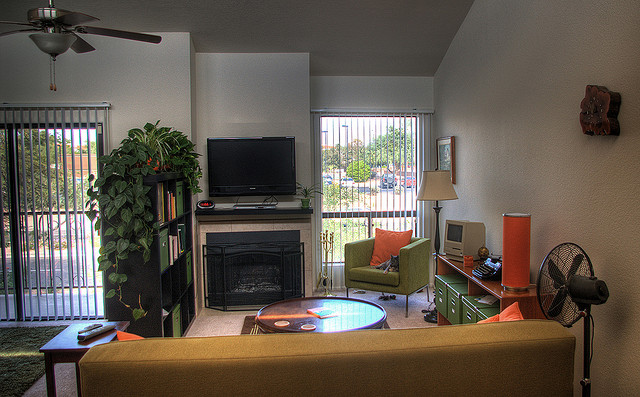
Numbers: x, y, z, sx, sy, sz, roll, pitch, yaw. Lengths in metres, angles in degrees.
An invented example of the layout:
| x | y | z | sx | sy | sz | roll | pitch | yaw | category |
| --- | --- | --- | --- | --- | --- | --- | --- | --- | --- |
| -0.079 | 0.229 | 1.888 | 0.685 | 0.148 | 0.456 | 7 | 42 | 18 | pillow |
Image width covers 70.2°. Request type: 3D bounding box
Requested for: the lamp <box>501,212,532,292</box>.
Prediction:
| x | y | z | sx | sy | sz | roll | pitch | yaw | category |
| --- | --- | --- | --- | --- | --- | --- | --- | --- | --- |
| 1.996 | 0.548 | 4.641 | 0.256 | 0.786 | 0.194 | 0 | 3 | 22 | lamp |

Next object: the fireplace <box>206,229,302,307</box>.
| x | y | z | sx | sy | sz | roll | pitch | yaw | category |
| --- | --- | --- | --- | --- | --- | --- | --- | --- | --- |
| -1.000 | 1.015 | 6.502 | 1.167 | 0.810 | 0.368 | -1 | 0 | -6 | fireplace |

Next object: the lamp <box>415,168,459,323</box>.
| x | y | z | sx | sy | sz | roll | pitch | yaw | category |
| --- | --- | --- | --- | --- | --- | --- | --- | --- | --- |
| 1.619 | 0.608 | 6.324 | 0.547 | 2.016 | 1.001 | 0 | 3 | 16 | lamp |

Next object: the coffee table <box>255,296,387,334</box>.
| x | y | z | sx | sy | sz | roll | pitch | yaw | category |
| --- | --- | --- | --- | --- | --- | --- | --- | --- | --- |
| 0.019 | 1.289 | 4.905 | 1.360 | 0.246 | 0.900 | -1 | 3 | 0 | coffee table |

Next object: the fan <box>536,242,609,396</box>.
| x | y | z | sx | sy | sz | roll | pitch | yaw | category |
| --- | --- | --- | --- | --- | --- | --- | --- | --- | --- |
| 2.079 | 1.003 | 3.795 | 0.492 | 1.228 | 0.331 | -1 | 3 | -8 | fan |

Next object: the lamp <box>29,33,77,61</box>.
| x | y | z | sx | sy | sz | roll | pitch | yaw | category |
| --- | --- | --- | --- | --- | --- | --- | --- | --- | --- |
| -2.420 | -1.362 | 4.157 | 0.422 | 0.199 | 0.396 | -8 | 5 | -41 | lamp |

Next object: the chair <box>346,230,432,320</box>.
| x | y | z | sx | sy | sz | roll | pitch | yaw | category |
| --- | --- | --- | --- | --- | --- | --- | --- | --- | --- |
| 1.002 | 0.987 | 6.629 | 1.019 | 0.995 | 0.850 | 1 | 2 | 37 | chair |

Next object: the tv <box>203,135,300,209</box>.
| x | y | z | sx | sy | sz | roll | pitch | yaw | category |
| --- | --- | --- | --- | --- | --- | --- | --- | --- | --- |
| -1.025 | -0.429 | 6.613 | 1.144 | 0.761 | 0.114 | 0 | 4 | -4 | tv |

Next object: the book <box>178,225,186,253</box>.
| x | y | z | sx | sy | sz | roll | pitch | yaw | category |
| --- | --- | --- | --- | --- | --- | --- | --- | --- | --- |
| -1.757 | 0.514 | 5.810 | 0.117 | 0.321 | 0.354 | -3 | 4 | -21 | book |

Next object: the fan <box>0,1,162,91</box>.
| x | y | z | sx | sy | sz | roll | pitch | yaw | category |
| --- | --- | --- | --- | --- | --- | --- | --- | --- | --- |
| -2.225 | -1.519 | 4.190 | 1.073 | 0.573 | 1.192 | 2 | 3 | 26 | fan |

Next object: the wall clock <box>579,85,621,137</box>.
| x | y | z | sx | sy | sz | roll | pitch | yaw | category |
| --- | --- | --- | --- | --- | --- | --- | --- | --- | --- |
| 2.532 | -0.791 | 4.088 | 0.167 | 0.483 | 0.500 | 0 | 4 | -16 | wall clock |
